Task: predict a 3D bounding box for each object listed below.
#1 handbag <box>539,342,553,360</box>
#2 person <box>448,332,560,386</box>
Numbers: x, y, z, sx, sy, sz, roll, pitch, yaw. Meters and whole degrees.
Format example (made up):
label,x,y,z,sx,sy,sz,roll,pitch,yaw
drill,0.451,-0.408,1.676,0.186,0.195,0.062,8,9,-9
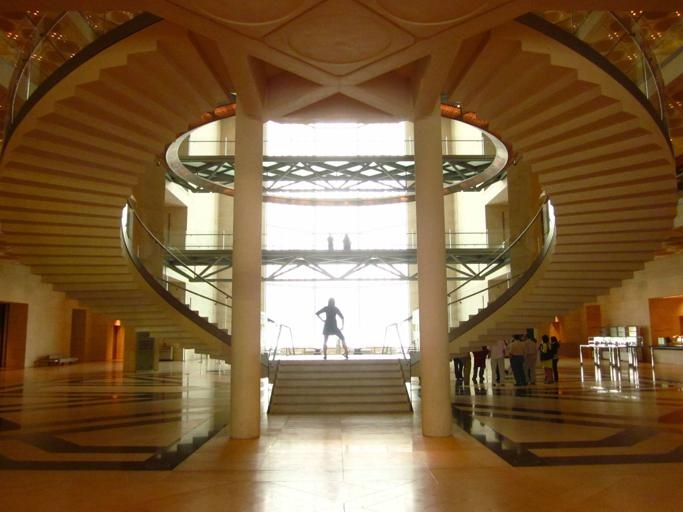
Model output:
label,x,y,z,sx,sy,sz,roll,pitch,yaw
handbag,5.377,2.521,14.493,0.286,0.450,0.479,-5,-12,25
person,4.896,2.728,14.520,1.881,1.302,1.107,3,-11,-16
